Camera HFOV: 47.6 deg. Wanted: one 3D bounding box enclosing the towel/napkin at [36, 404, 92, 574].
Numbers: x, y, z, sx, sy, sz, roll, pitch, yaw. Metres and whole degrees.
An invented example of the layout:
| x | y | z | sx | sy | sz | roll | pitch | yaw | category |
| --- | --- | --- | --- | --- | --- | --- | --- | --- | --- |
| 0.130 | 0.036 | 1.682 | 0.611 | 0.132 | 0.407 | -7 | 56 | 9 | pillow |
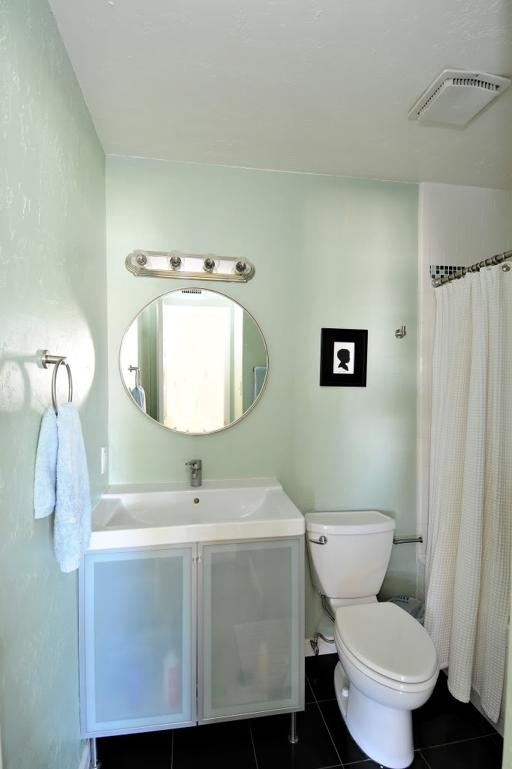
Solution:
| x | y | z | sx | sy | sz | roll | pitch | yaw | category |
| --- | --- | --- | --- | --- | --- | --- | --- | --- | --- |
| -0.523 | 0.277 | 1.575 | 0.088 | 0.442 | 0.281 | -1 | 6 | -6 | towel/napkin |

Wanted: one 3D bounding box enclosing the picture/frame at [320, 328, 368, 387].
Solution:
| x | y | z | sx | sy | sz | roll | pitch | yaw | category |
| --- | --- | --- | --- | --- | --- | --- | --- | --- | --- |
| 0.381 | -0.122 | 2.602 | 0.193 | 0.306 | 0.019 | 1 | 1 | -15 | picture/frame |

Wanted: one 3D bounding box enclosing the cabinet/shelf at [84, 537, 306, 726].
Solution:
| x | y | z | sx | sy | sz | roll | pitch | yaw | category |
| --- | --- | --- | --- | --- | --- | --- | --- | --- | --- |
| -0.243 | 0.846 | 1.994 | 0.544 | 0.576 | 0.220 | -1 | -3 | -11 | cabinet/shelf |
